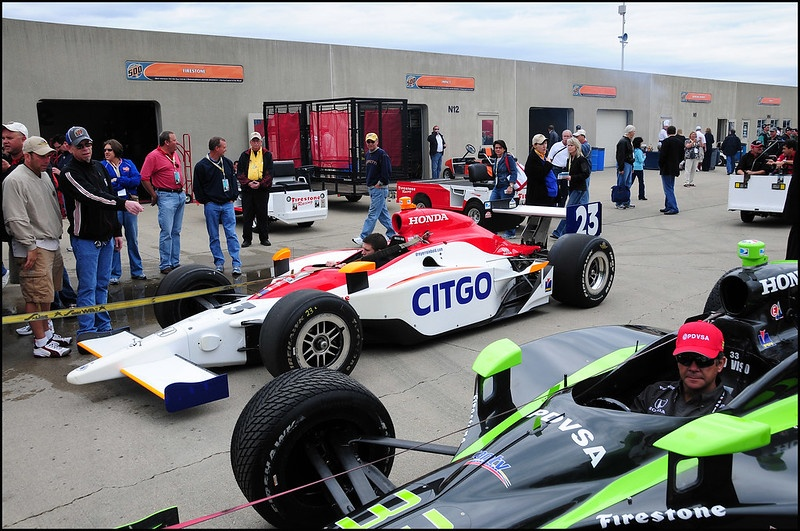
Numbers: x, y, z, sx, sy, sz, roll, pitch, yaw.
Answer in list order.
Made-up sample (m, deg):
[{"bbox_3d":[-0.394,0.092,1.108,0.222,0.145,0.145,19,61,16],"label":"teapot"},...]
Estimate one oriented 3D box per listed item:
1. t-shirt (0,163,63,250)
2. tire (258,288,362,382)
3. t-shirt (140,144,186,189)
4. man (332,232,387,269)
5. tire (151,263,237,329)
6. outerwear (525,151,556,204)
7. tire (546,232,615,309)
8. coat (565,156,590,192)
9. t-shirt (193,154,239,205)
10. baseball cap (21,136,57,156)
[{"bbox_3d":[-4.137,-0.643,6.993,0.373,1.005,0.589,9,15,41],"label":"t-shirt"},{"bbox_3d":[-0.881,0.709,6.013,0.848,0.852,0.328,12,-10,-39],"label":"tire"},{"bbox_3d":[-3.984,-1.650,10.369,0.707,0.716,0.437,-10,14,-40],"label":"t-shirt"},{"bbox_3d":[-0.523,-0.222,7.499,0.763,0.278,0.317,-17,16,1],"label":"man"},{"bbox_3d":[-2.450,0.390,7.351,0.789,0.793,0.327,7,-2,-39],"label":"tire"},{"bbox_3d":[2.739,-1.737,12.161,0.585,1.108,0.411,2,11,14],"label":"outerwear"},{"bbox_3d":[2.400,0.110,8.260,0.945,0.948,0.476,10,-5,-43],"label":"tire"},{"bbox_3d":[3.539,-1.845,12.273,0.388,0.695,0.452,2,12,16],"label":"coat"},{"bbox_3d":[-3.136,-1.453,10.479,0.705,0.804,0.364,-5,12,-20],"label":"t-shirt"},{"bbox_3d":[-4.099,-1.360,6.963,0.304,0.175,0.193,1,10,12],"label":"baseball cap"}]
